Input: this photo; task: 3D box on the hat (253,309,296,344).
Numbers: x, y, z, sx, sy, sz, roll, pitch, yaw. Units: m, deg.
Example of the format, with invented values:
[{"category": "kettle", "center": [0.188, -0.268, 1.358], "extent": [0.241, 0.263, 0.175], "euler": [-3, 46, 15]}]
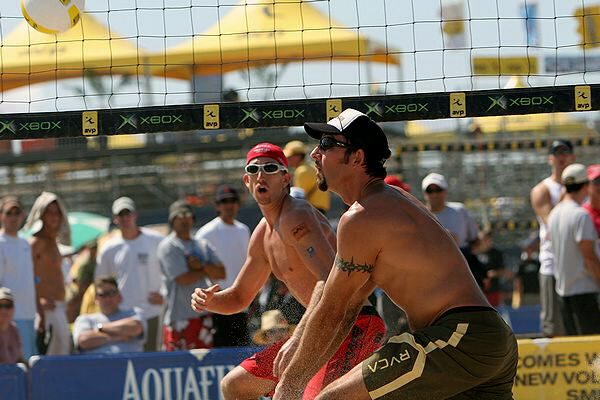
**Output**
[{"category": "hat", "center": [-0.306, 1.487, 18.181], "extent": [0.406, 0.167, 0.381], "euler": [-17, -2, 41]}]
